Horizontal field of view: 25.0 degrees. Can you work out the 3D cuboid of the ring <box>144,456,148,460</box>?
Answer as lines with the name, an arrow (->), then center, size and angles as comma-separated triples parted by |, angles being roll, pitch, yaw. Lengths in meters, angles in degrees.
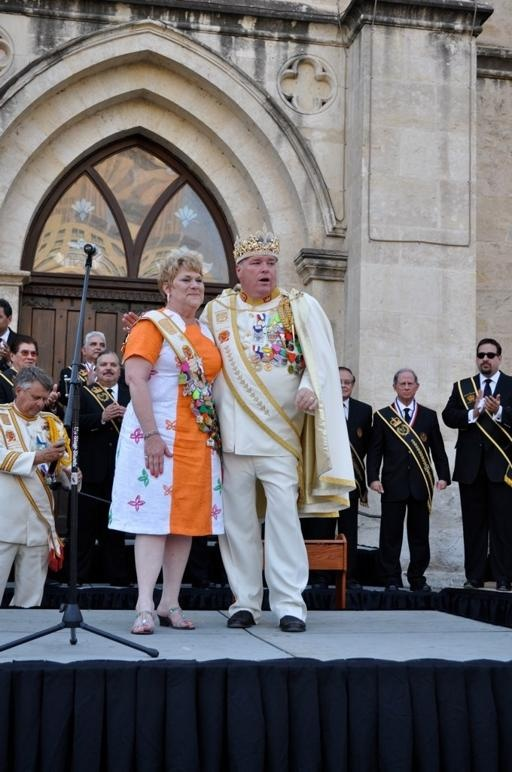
ring -> -0.429, 0.283, 4.535 | 0.013, 0.017, 0.006 | 8, 5, 35

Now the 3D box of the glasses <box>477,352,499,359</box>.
glasses -> 1.406, -0.185, 7.087 | 0.116, 0.049, 0.063 | -1, -2, 24

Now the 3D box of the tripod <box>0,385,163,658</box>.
tripod -> -0.664, 0.481, 4.253 | 0.510, 0.929, 1.030 | 1, -2, -11

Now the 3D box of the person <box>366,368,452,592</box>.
person -> 0.945, 0.575, 7.222 | 0.546, 1.366, 0.505 | 1, -2, -6

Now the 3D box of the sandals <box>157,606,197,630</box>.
sandals -> -0.319, 0.938, 4.626 | 0.071, 0.057, 0.147 | 5, -10, -42

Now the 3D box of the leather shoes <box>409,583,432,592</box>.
leather shoes -> 1.009, 1.226, 7.034 | 0.062, 0.066, 0.181 | 7, -12, -39

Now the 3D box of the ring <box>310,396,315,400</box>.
ring -> 0.226, 0.050, 4.671 | 0.017, 0.015, 0.006 | 6, 5, 11

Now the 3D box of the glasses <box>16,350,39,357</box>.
glasses -> -1.248, -0.180, 6.395 | 0.061, 0.049, 0.154 | 0, -2, 23

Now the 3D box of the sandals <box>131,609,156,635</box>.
sandals -> -0.425, 0.902, 4.409 | 0.090, 0.080, 0.219 | 0, -15, -3

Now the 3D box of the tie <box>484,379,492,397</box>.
tie -> 1.447, 0.013, 7.219 | 0.044, 0.149, 0.031 | -3, -29, 25

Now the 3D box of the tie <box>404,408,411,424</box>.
tie -> 0.955, 0.188, 7.317 | 0.052, 0.076, 0.020 | 4, -14, -2
